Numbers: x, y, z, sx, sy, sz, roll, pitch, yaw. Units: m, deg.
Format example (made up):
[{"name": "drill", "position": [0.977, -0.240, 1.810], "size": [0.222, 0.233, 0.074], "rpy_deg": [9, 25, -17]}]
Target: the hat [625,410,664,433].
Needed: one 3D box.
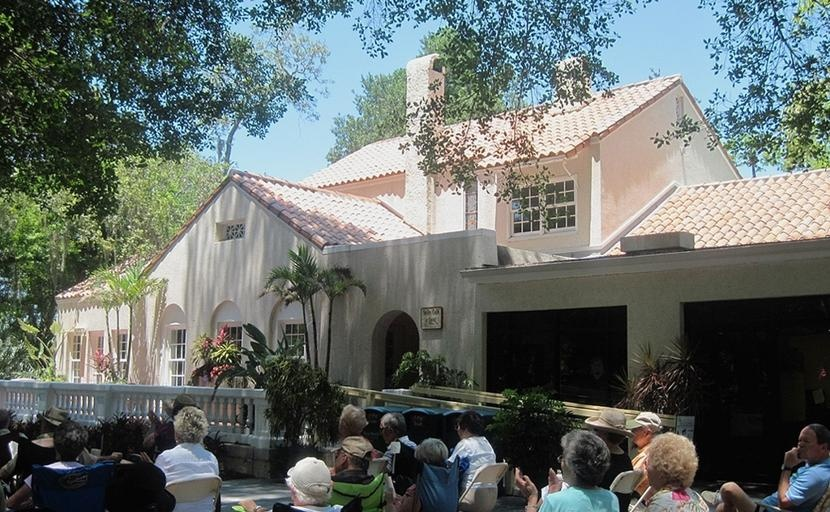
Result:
[{"name": "hat", "position": [3.724, 2.716, 11.905], "size": [0.631, 0.360, 0.440], "rpy_deg": [-2, -11, 22]}]

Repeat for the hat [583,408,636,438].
[{"name": "hat", "position": [2.996, 2.582, 11.348], "size": [0.531, 0.232, 0.472], "rpy_deg": [17, -8, -4]}]

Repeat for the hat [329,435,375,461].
[{"name": "hat", "position": [-0.962, 2.898, 11.103], "size": [0.504, 0.266, 0.395], "rpy_deg": [2, -23, 6]}]

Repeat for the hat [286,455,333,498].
[{"name": "hat", "position": [-1.389, 3.073, 9.977], "size": [0.409, 0.363, 0.592], "rpy_deg": [2, 9, -27]}]
